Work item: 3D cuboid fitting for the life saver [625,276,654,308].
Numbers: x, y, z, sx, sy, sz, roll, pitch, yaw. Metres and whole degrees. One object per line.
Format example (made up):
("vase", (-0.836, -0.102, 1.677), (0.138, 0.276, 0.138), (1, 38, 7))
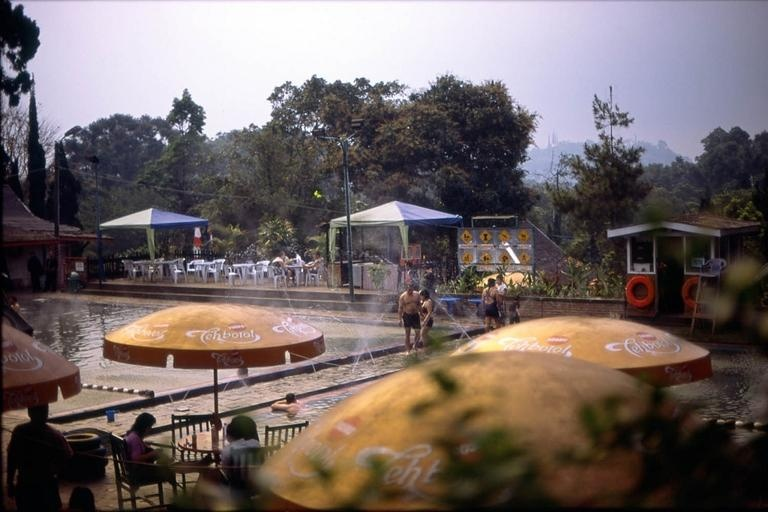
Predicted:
("life saver", (7.521, 1.073, 18.883), (0.780, 1.024, 0.280), (5, 5, 29))

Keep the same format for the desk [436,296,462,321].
("desk", (2.242, 1.768, 22.271), (0.543, 0.711, 1.077), (1, -3, -30))

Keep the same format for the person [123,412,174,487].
("person", (-2.561, 2.146, 7.071), (0.517, 0.825, 0.366), (2, -3, -17))

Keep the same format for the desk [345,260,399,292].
("desk", (-0.319, 0.884, 25.471), (1.213, 1.195, 3.764), (0, -3, -13))

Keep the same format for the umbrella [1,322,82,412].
("umbrella", (-3.212, 1.042, 5.885), (0.470, 0.755, 0.805), (-2, -3, 21))

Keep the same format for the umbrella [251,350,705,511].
("umbrella", (0.306, 0.763, 2.793), (1.605, 0.669, 1.319), (-2, -3, 23))

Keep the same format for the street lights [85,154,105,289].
("street lights", (-17.904, -2.851, 40.922), (0.922, 6.893, 0.908), (-10, 18, -32))

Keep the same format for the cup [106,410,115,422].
("cup", (-4.244, 2.502, 10.031), (0.122, 0.195, 0.130), (-2, -3, 0))

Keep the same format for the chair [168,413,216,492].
("chair", (-2.206, 2.327, 7.370), (0.473, 0.781, 0.459), (1, -15, -33))
